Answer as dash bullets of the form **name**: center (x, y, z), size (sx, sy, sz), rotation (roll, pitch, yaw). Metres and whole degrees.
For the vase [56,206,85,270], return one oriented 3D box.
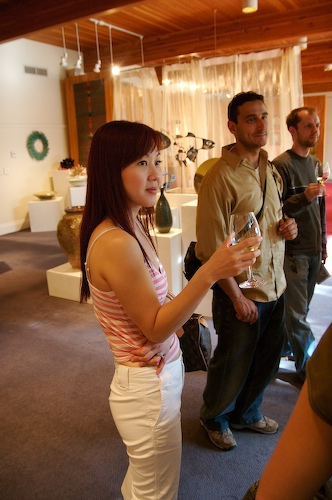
- **vase**: center (-1.173, -0.118, 4.408), size (0.362, 0.809, 0.549), rotation (-8, 14, -17)

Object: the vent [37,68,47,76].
- **vent**: center (-3.151, -4.542, 8.867), size (0.032, 0.166, 0.311), rotation (4, 16, 31)

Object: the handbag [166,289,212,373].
- **handbag**: center (0.141, 0.446, 1.661), size (0.137, 0.273, 0.128), rotation (0, 14, 14)

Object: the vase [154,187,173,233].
- **vase**: center (-0.037, -0.457, 3.876), size (0.187, 0.502, 0.273), rotation (-4, 13, -2)

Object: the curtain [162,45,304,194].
- **curtain**: center (1.192, -2.603, 6.934), size (2.827, 2.585, 0.516), rotation (5, 16, 33)

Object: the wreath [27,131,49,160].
- **wreath**: center (-3.297, -2.700, 8.998), size (0.119, 0.703, 0.668), rotation (2, 15, 25)
